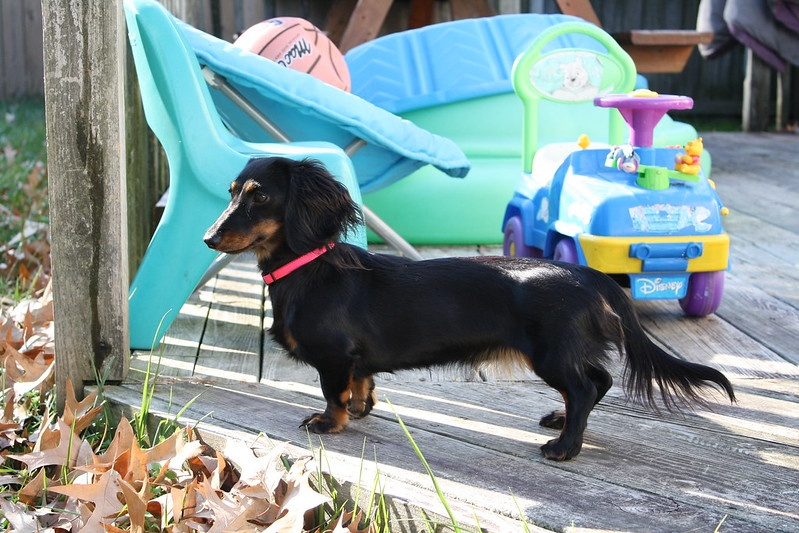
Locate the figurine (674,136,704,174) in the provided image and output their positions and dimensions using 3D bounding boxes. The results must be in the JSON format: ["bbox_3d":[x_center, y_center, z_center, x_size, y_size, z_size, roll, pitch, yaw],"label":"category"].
[{"bbox_3d":[1.109,-0.428,3.061,0.096,0.141,0.100,-2,15,-35],"label":"figurine"}]

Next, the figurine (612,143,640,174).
[{"bbox_3d":[0.873,-0.414,3.063,0.072,0.067,0.119,-25,25,-14],"label":"figurine"}]

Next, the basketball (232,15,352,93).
[{"bbox_3d":[-0.478,-0.936,3.424,0.589,0.355,0.426,-6,22,-10],"label":"basketball"}]

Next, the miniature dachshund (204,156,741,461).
[{"bbox_3d":[0.125,0.115,2.312,1.344,0.777,0.295,5,18,11],"label":"miniature dachshund"}]

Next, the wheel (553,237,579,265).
[{"bbox_3d":[0.641,-0.061,3.053,0.041,0.109,0.102,-1,11,-4],"label":"wheel"}]
